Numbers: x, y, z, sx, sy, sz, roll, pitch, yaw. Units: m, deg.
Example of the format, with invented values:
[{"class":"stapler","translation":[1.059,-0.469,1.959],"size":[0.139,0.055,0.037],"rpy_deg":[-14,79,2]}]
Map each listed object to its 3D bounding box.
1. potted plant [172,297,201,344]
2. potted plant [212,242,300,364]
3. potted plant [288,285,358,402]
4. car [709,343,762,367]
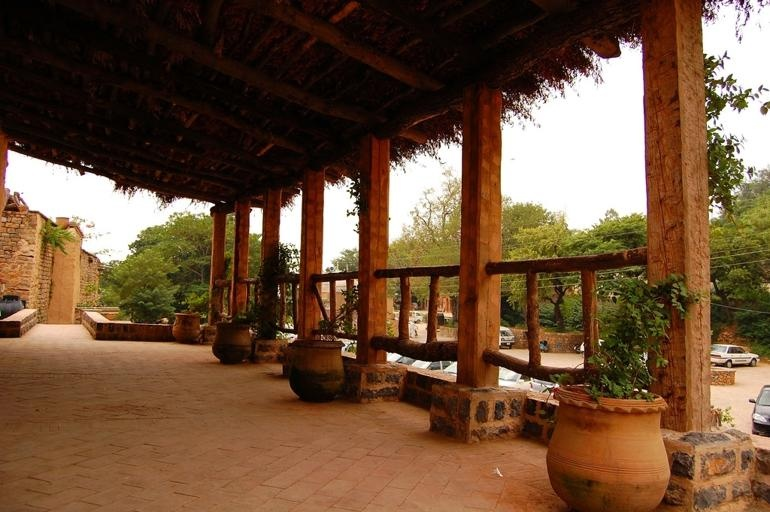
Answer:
[{"class":"potted plant","translation":[-4.889,1.676,12.347],"size":[0.890,0.961,0.887],"rpy_deg":[6,-8,-19]},{"class":"potted plant","translation":[-2.309,0.765,9.001],"size":[1.322,2.268,1.135],"rpy_deg":[2,-2,-4]},{"class":"potted plant","translation":[-0.815,1.109,6.604],"size":[0.848,1.398,1.123],"rpy_deg":[2,-2,-5]},{"class":"car","translation":[15.521,4.498,22.484],"size":[2.473,0.911,1.237],"rpy_deg":[4,-3,-38]}]
